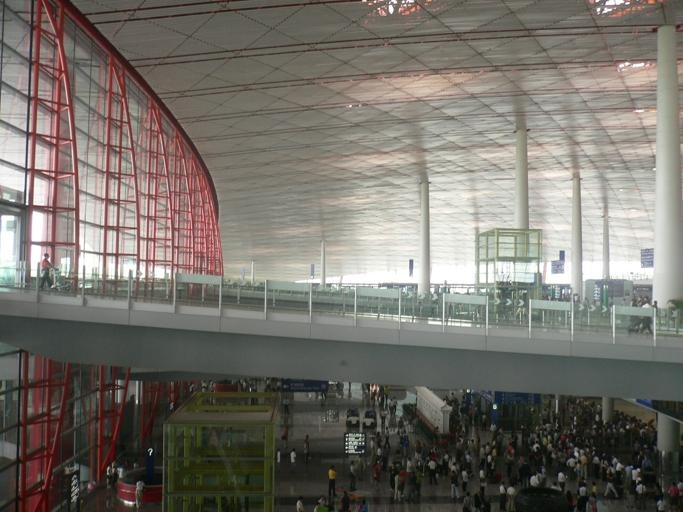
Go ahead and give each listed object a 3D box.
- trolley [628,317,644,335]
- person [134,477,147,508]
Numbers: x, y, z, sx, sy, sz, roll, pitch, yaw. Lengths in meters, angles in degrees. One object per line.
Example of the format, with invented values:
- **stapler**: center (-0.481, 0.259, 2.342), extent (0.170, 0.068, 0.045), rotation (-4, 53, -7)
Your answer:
- **trolley**: center (10.943, 2.603, 30.382), extent (0.551, 0.898, 0.525), rotation (-1, -4, 28)
- **person**: center (-9.247, 10.948, 37.317), extent (0.381, 1.305, 1.174), rotation (4, -9, -13)
